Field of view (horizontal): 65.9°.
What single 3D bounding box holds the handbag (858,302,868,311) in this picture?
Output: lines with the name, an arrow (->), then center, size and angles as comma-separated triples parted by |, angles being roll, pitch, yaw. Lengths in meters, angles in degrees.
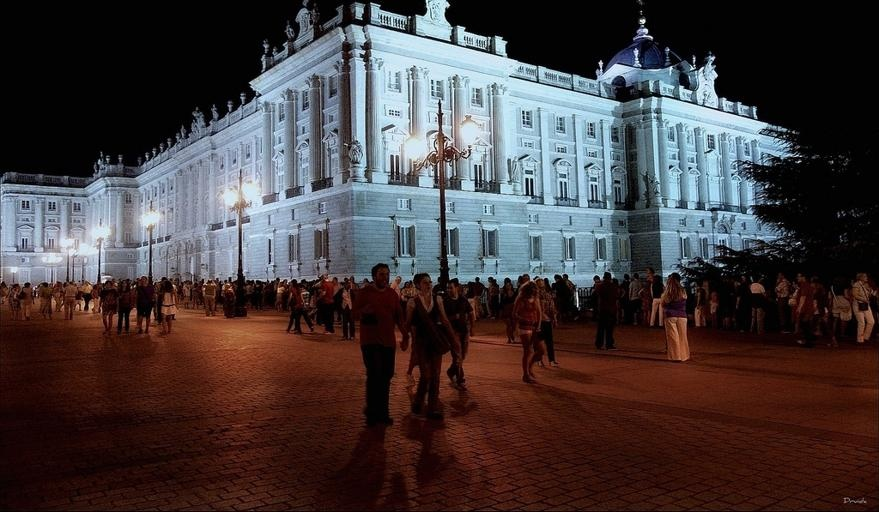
handbag -> 14.861, 1.829, 23.673 | 0.237, 0.275, 0.427 | -4, -7, 33
